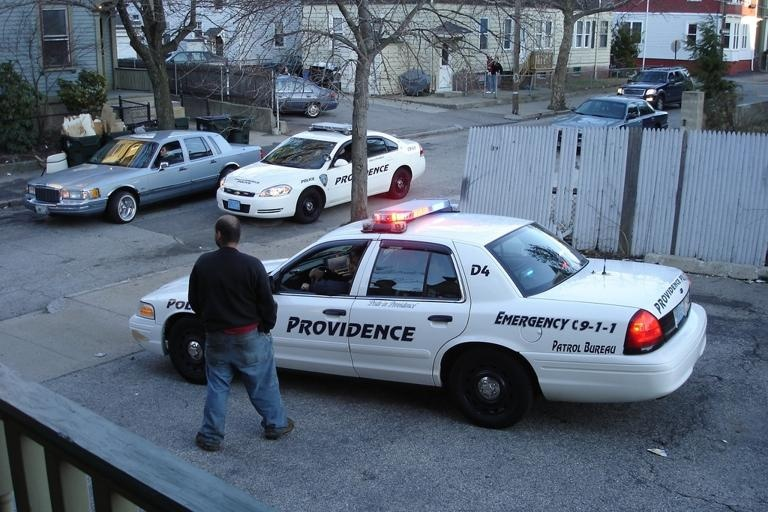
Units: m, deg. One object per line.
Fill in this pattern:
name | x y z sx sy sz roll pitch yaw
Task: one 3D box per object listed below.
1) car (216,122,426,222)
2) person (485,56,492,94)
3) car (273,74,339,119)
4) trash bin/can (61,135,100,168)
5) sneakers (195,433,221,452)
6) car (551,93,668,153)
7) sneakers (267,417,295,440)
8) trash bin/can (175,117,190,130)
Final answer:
car | -1.454 -2.004 15.416 4.989 1.806 2.379 -15 21 -42
person | 6.173 -10.201 35.600 0.396 1.487 1.459 2 17 10
car | -3.321 -6.535 25.551 2.593 2.018 9.824 -3 17 -5
trash bin/can | -9.060 -3.068 17.969 0.791 1.122 1.147 18 21 33
sneakers | -1.791 1.872 6.169 0.260 0.116 0.138 22 18 21
car | 8.687 -5.360 22.999 4.851 1.143 2.052 -12 20 -31
sneakers | -1.102 1.802 6.343 0.123 0.153 0.328 17 34 28
trash bin/can | -7.284 -4.702 21.743 0.379 0.375 0.899 -5 18 -12
